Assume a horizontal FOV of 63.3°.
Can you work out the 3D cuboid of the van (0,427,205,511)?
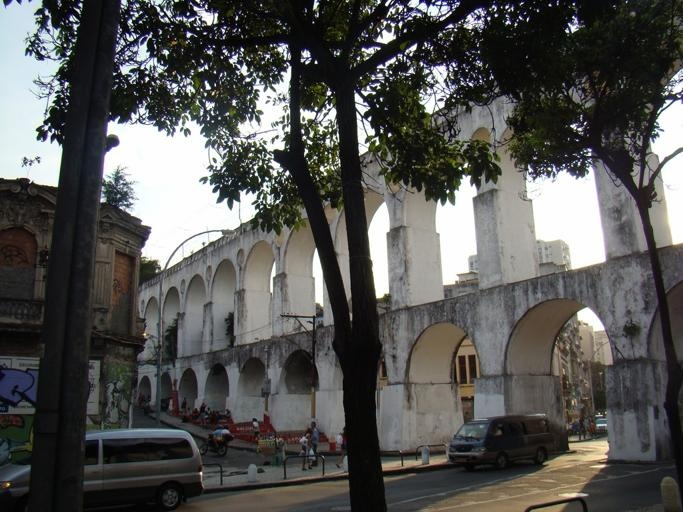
[{"bbox_3d":[-5.210,4.719,11.970,3.989,1.801,2.020,10,-21,-42],"label":"van"}]

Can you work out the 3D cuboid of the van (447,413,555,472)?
[{"bbox_3d":[5.408,6.328,18.888,3.432,1.616,1.731,15,-28,-32],"label":"van"}]

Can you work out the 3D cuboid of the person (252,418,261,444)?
[{"bbox_3d":[-4.718,9.695,30.612,0.360,1.257,1.337,-2,-16,-8],"label":"person"}]
